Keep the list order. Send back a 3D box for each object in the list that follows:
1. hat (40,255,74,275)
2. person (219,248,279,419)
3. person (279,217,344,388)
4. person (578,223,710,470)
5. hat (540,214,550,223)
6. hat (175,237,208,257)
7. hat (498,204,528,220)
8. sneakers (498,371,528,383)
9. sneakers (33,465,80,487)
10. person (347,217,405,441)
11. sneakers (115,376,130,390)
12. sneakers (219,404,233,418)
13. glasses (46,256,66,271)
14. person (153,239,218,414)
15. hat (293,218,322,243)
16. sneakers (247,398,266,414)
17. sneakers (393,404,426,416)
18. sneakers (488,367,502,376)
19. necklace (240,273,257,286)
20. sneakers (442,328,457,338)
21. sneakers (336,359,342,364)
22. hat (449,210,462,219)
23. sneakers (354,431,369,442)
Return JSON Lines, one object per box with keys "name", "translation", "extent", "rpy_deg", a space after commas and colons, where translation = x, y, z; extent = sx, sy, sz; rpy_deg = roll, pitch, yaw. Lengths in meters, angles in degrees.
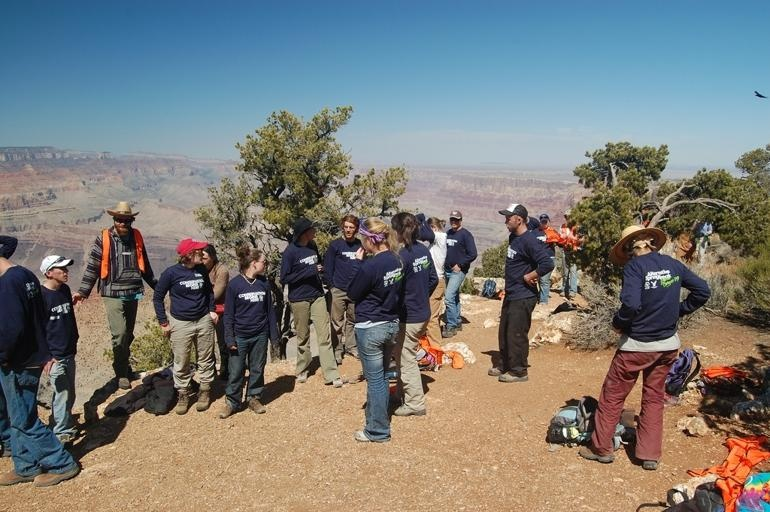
{"name": "hat", "translation": [-5.154, 0.113, 7.845], "extent": [0.466, 0.236, 0.306], "rpy_deg": [-10, 7, -23]}
{"name": "person", "translation": [-2.421, 1.321, 8.803], "extent": [1.069, 2.894, 0.731], "rpy_deg": [-8, 15, -33]}
{"name": "person", "translation": [-1.420, 0.878, 9.624], "extent": [1.113, 3.187, 0.840], "rpy_deg": [1, 13, 2]}
{"name": "person", "translation": [3.739, 1.298, 7.173], "extent": [1.042, 3.333, 1.435], "rpy_deg": [12, 17, 41]}
{"name": "hat", "translation": [4.461, -1.042, 14.047], "extent": [0.229, 0.181, 0.361], "rpy_deg": [-5, -4, 18]}
{"name": "hat", "translation": [-3.376, -0.176, 8.752], "extent": [0.487, 0.203, 0.304], "rpy_deg": [-14, 25, -28]}
{"name": "hat", "translation": [2.304, -0.768, 9.041], "extent": [0.462, 0.239, 0.300], "rpy_deg": [0, 3, 25]}
{"name": "sneakers", "translation": [2.397, 2.272, 9.369], "extent": [0.492, 0.201, 0.194], "rpy_deg": [5, -7, 2]}
{"name": "sneakers", "translation": [-4.813, 3.238, 7.335], "extent": [0.236, 0.187, 0.460], "rpy_deg": [2, -5, 41]}
{"name": "person", "translation": [-0.156, 1.181, 7.663], "extent": [0.750, 3.478, 0.490], "rpy_deg": [1, 13, 3]}
{"name": "sneakers", "translation": [-5.074, 2.474, 9.745], "extent": [0.185, 0.275, 0.143], "rpy_deg": [29, 49, 15]}
{"name": "sneakers", "translation": [-2.779, 2.713, 8.763], "extent": [0.159, 0.144, 0.284], "rpy_deg": [-8, 8, -4]}
{"name": "glasses", "translation": [-5.154, 0.116, 7.830], "extent": [0.277, 0.158, 0.200], "rpy_deg": [-15, 6, -12]}
{"name": "person", "translation": [-3.469, 1.245, 8.872], "extent": [0.938, 3.051, 0.663], "rpy_deg": [-5, 14, -22]}
{"name": "hat", "translation": [-1.495, -0.518, 9.460], "extent": [0.489, 0.251, 0.351], "rpy_deg": [-30, 6, -19]}
{"name": "sneakers", "translation": [-2.253, 2.656, 8.877], "extent": [0.181, 0.141, 0.327], "rpy_deg": [-9, 13, -41]}
{"name": "sneakers", "translation": [0.420, 2.586, 8.484], "extent": [0.532, 0.236, 0.197], "rpy_deg": [3, -4, 7]}
{"name": "sneakers", "translation": [2.128, 2.244, 9.715], "extent": [0.125, 0.141, 0.214], "rpy_deg": [-16, -45, 45]}
{"name": "necklace", "translation": [-2.372, 0.405, 8.745], "extent": [0.240, 0.201, 0.099], "rpy_deg": [-4, 13, -18]}
{"name": "sneakers", "translation": [1.569, 1.884, 12.227], "extent": [0.367, 0.163, 0.151], "rpy_deg": [-2, 2, -36]}
{"name": "sneakers", "translation": [-0.955, 2.220, 10.515], "extent": [0.099, 0.091, 0.166], "rpy_deg": [3, 5, -2]}
{"name": "hat", "translation": [1.624, -0.938, 11.523], "extent": [0.278, 0.234, 0.620], "rpy_deg": [3, 12, 11]}
{"name": "sneakers", "translation": [-0.374, 2.845, 7.896], "extent": [0.119, 0.108, 0.236], "rpy_deg": [26, -11, -39]}
